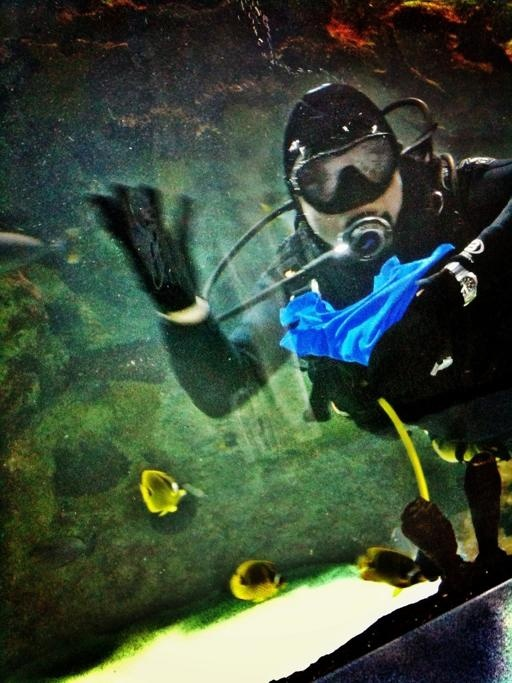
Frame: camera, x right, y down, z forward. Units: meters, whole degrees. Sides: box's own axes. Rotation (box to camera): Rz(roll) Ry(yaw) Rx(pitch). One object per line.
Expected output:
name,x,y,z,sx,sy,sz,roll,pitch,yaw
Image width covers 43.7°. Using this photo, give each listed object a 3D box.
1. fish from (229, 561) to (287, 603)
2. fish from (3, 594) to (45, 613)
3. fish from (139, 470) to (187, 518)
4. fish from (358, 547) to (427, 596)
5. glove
fish,0.002,1.030,2.743,0.223,0.123,0.127,4,28,0
fish,-1.001,1.124,2.738,0.182,0.047,0.044,4,28,0
fish,-0.423,0.666,2.810,0.222,0.163,0.083,26,6,1
fish,0.589,0.981,2.790,0.281,0.147,0.081,12,-2,-2
glove,-0.446,-0.430,2.838,0.573,0.485,0.268,25,35,34
